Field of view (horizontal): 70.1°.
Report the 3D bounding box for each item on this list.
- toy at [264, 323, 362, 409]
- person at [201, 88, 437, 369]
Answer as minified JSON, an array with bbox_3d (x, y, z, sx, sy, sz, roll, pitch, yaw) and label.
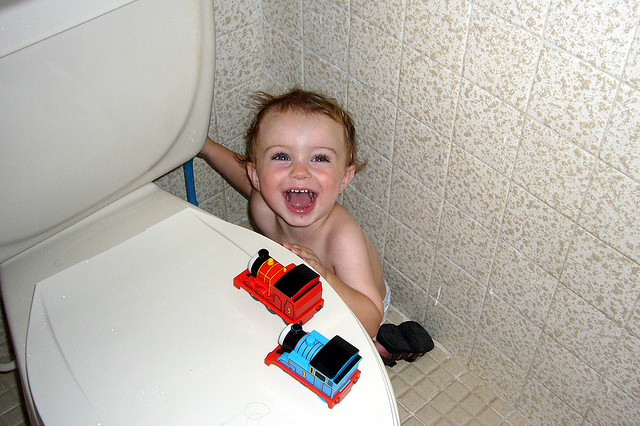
[{"bbox_3d":[-0.014,0.246,0.793,0.100,0.151,0.094,-38,-34,-43],"label":"toy"},{"bbox_3d":[-0.009,0.180,1.368,0.333,0.628,1.069,-30,-45,-31],"label":"person"}]
